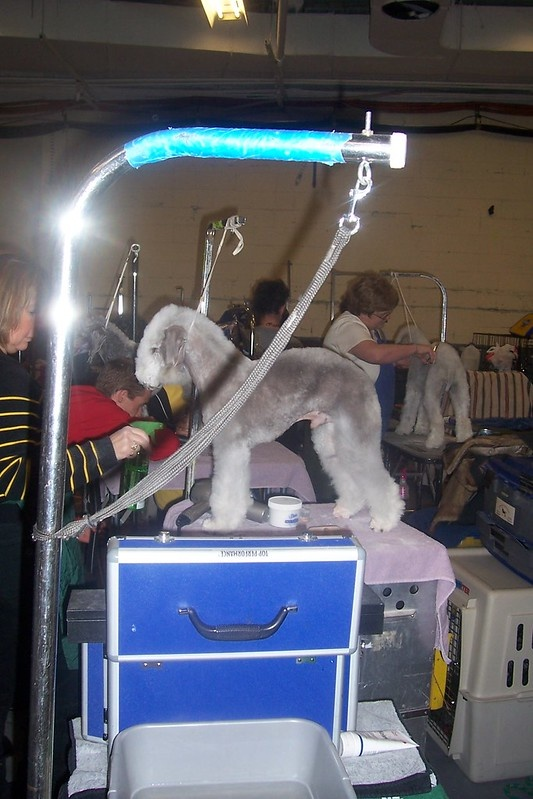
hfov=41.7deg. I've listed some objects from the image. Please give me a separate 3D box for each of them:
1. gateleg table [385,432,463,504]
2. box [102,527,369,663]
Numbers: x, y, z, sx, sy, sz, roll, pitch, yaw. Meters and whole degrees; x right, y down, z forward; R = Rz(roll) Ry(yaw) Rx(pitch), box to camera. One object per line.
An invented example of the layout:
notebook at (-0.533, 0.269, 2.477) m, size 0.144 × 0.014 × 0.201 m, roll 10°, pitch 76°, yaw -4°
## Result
gateleg table at (0.804, 0.376, 3.696) m, size 0.389 × 0.332 × 0.704 m, roll 1°, pitch 6°, yaw -3°
box at (-0.038, 0.261, 0.901) m, size 0.329 × 0.151 × 0.054 m, roll 1°, pitch 4°, yaw -13°
